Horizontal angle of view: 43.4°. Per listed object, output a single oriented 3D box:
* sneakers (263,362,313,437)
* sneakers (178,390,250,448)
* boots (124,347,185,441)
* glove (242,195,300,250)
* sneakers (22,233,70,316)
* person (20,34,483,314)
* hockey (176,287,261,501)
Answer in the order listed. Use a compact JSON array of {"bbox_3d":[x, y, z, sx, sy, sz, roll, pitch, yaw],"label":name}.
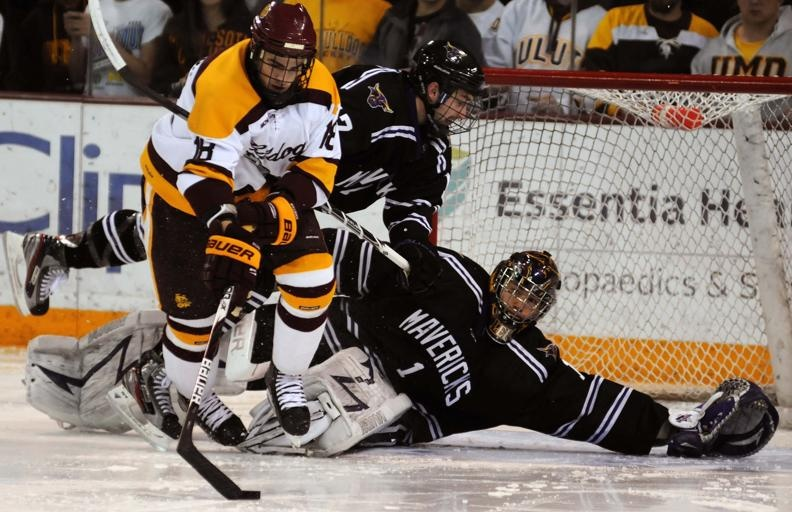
[{"bbox_3d":[-0.513,0.674,4.656,0.132,0.392,0.157,-14,-17,-24],"label":"sneakers"},{"bbox_3d":[-0.828,0.771,4.704,0.426,0.142,0.168,43,-3,15],"label":"sneakers"},{"bbox_3d":[-1.160,0.673,4.756,0.129,0.415,0.188,-32,-2,-25],"label":"boots"},{"bbox_3d":[-0.573,-0.160,4.428,0.276,0.229,0.121,0,11,-11],"label":"glove"},{"bbox_3d":[-1.780,0.057,5.084,0.224,0.478,0.162,1,4,10],"label":"sneakers"},{"bbox_3d":[-0.862,-0.242,4.553,0.699,0.624,2.321,2,-27,-40],"label":"person"},{"bbox_3d":[-0.746,0.558,4.596,0.339,0.093,1.316,7,43,-4],"label":"hockey"}]
